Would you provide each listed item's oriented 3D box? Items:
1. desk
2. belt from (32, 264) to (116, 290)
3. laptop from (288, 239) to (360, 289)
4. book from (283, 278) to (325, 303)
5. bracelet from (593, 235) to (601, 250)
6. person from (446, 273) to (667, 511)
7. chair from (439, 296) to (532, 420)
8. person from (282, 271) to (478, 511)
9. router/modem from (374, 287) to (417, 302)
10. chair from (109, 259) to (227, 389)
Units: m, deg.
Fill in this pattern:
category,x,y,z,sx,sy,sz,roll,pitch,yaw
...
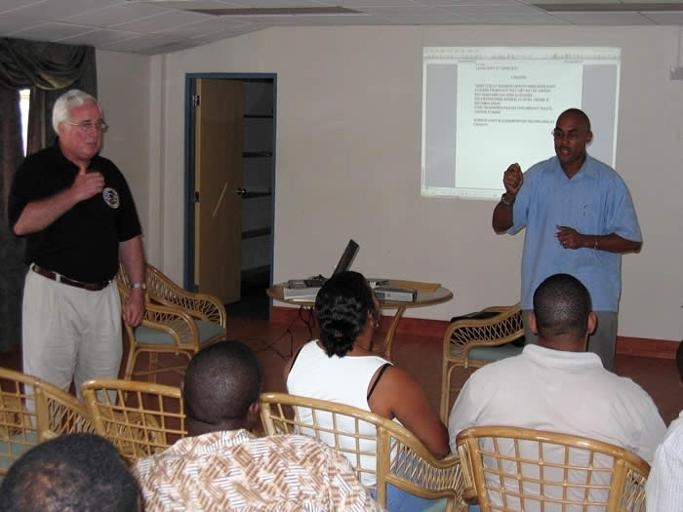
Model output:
category,x,y,z,sx,sy,sz,roll,pitch,yaw
desk,0.307,0.389,4.366,0.990,0.701,1.026,1,-2,7
belt,-1.247,0.099,2.620,0.319,0.119,0.094,0,6,-29
laptop,-0.131,0.076,4.128,0.366,0.314,0.425,10,-1,-10
book,-0.259,0.236,3.981,0.274,0.097,0.197,-4,11,-25
bracelet,1.380,-0.067,3.077,0.044,0.053,0.052,1,4,23
person,0.868,0.513,2.270,0.684,1.088,0.568,8,40,25
chair,0.883,0.799,3.894,0.626,0.948,0.618,5,-16,-9
person,0.202,0.511,2.371,0.651,1.006,0.571,11,33,29
router/modem,0.357,0.255,3.789,0.229,0.059,0.181,2,2,18
chair,-1.092,0.573,4.113,0.834,1.196,0.748,4,-9,-16
